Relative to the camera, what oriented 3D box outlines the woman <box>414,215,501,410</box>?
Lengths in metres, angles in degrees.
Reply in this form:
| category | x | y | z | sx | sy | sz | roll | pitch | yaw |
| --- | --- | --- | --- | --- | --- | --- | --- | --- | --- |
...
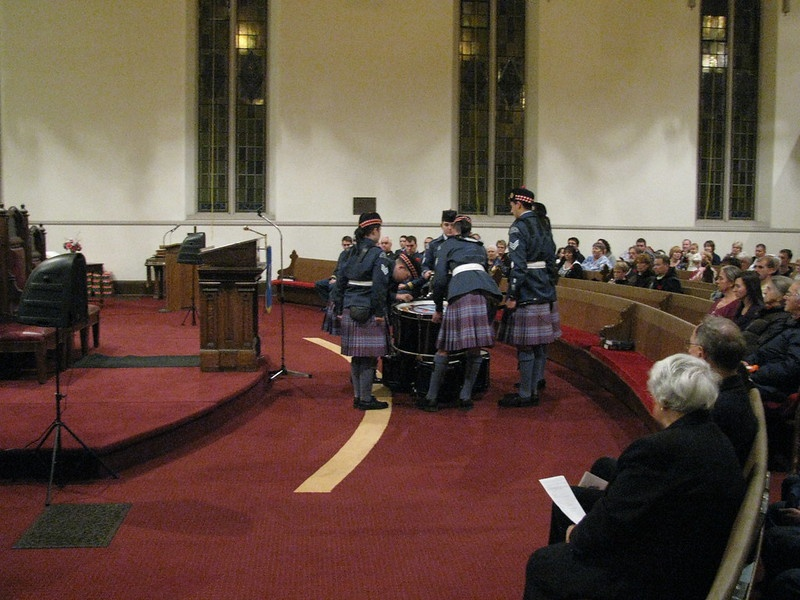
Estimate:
| category | x | y | z | sx | sy | sz | roll | pitch | yaw |
| --- | --- | --- | --- | --- | --- | --- | --- | --- | --- |
| woman | 0.606 | 0.081 | 6.839 | 0.879 | 1.941 | 0.604 | -3 | -9 | 15 |

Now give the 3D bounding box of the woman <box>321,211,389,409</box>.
| category | x | y | z | sx | sy | sz | roll | pitch | yaw |
| --- | --- | --- | --- | --- | --- | --- | --- | --- | --- |
| woman | -0.307 | 0.117 | 6.814 | 0.685 | 1.901 | 0.654 | -1 | 5 | -19 |

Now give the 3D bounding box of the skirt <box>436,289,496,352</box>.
| category | x | y | z | sx | sy | sz | roll | pitch | yaw |
| --- | --- | --- | --- | --- | --- | --- | --- | --- | --- |
| skirt | 0.697 | 0.158 | 6.706 | 0.410 | 0.577 | 0.554 | -1 | -1 | -8 |

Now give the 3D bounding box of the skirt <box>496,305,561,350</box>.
| category | x | y | z | sx | sy | sz | roll | pitch | yaw |
| --- | --- | --- | --- | --- | --- | --- | --- | --- | --- |
| skirt | 1.378 | 0.268 | 7.066 | 0.712 | 0.642 | 0.413 | 0 | -3 | -9 |

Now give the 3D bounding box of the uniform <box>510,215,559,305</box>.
| category | x | y | z | sx | sy | sz | roll | pitch | yaw |
| --- | --- | --- | --- | --- | --- | --- | --- | --- | --- |
| uniform | 1.308 | -0.420 | 6.890 | 0.659 | 0.901 | 0.349 | -5 | 14 | -29 |

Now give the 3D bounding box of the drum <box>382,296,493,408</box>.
| category | x | y | z | sx | sy | sz | roll | pitch | yaw |
| --- | --- | --- | --- | --- | --- | --- | --- | --- | --- |
| drum | 0.264 | 0.531 | 7.466 | 1.002 | 0.772 | 1.029 | 1 | 7 | 0 |

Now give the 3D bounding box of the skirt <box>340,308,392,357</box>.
| category | x | y | z | sx | sy | sz | roll | pitch | yaw |
| --- | --- | --- | --- | --- | --- | --- | --- | --- | --- |
| skirt | -0.342 | 0.244 | 6.671 | 0.513 | 0.569 | 0.325 | 2 | 11 | 16 |

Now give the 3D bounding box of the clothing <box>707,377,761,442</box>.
| category | x | y | z | sx | sy | sz | roll | pitch | yaw |
| --- | --- | --- | --- | --- | --- | --- | --- | --- | --- |
| clothing | 1.838 | 0.448 | 3.762 | 0.251 | 0.474 | 0.457 | 1 | 16 | 31 |

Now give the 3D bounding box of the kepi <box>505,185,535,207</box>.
| category | x | y | z | sx | sy | sz | roll | pitch | yaw |
| --- | --- | --- | --- | --- | --- | --- | --- | --- | --- |
| kepi | 1.215 | -1.032 | 7.014 | 0.287 | 0.215 | 0.386 | 9 | 9 | -8 |
